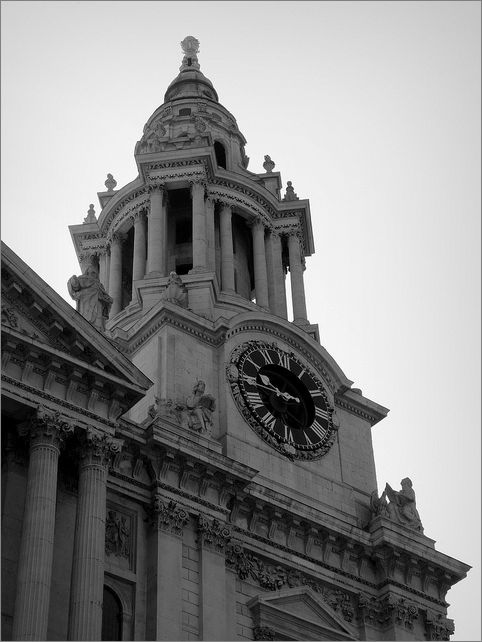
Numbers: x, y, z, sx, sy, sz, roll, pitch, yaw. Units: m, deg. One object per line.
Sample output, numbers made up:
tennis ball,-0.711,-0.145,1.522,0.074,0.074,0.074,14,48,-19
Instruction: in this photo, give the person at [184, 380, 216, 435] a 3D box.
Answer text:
person,-1.184,2.445,42.784,0.798,1.751,0.507,1,-38,-11
